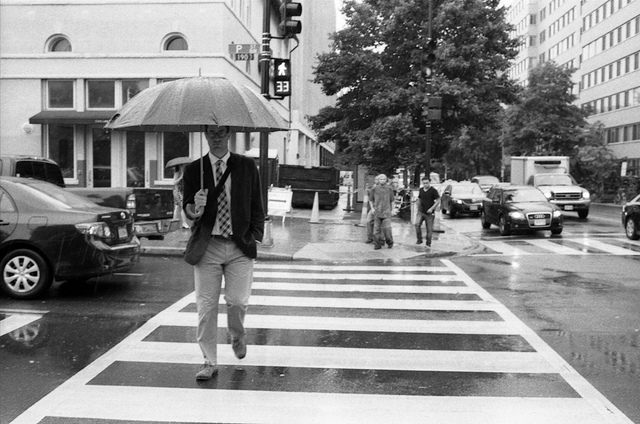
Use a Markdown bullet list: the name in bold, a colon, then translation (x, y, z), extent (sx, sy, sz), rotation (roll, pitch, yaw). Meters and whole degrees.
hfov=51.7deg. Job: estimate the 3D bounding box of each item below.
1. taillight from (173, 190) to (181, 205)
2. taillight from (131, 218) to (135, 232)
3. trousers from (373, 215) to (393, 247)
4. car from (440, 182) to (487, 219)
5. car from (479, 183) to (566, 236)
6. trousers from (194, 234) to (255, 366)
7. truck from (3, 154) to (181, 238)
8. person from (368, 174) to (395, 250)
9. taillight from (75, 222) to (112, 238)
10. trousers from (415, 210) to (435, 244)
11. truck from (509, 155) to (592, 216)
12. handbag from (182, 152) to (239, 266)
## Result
- **taillight**: translation (-4.667, -0.441, 21.545), extent (0.157, 0.527, 0.388), rotation (-6, 1, -40)
- **taillight**: translation (-3.877, 0.275, 13.645), extent (0.060, 0.325, 0.060), rotation (2, 11, -12)
- **trousers**: translation (1.794, 0.497, 19.006), extent (0.506, 0.399, 1.387), rotation (0, 40, 5)
- **car**: translation (6.981, -0.568, 32.839), extent (1.554, 1.281, 3.423), rotation (0, -1, -2)
- **car**: translation (7.281, -0.032, 23.736), extent (1.765, 1.601, 3.291), rotation (0, 8, -4)
- **trousers**: translation (-1.348, 1.223, 9.332), extent (0.809, 1.843, 0.229), rotation (-1, 7, -12)
- **truck**: translation (-5.989, -0.454, 16.003), extent (4.202, 1.655, 1.967), rotation (3, 1, 9)
- **person**: translation (1.751, -0.026, 18.831), extent (0.698, 2.114, 0.754), rotation (1, 7, 4)
- **taillight**: translation (-4.253, 0.336, 12.352), extent (0.404, 0.203, 0.301), rotation (-1, -3, 10)
- **trousers**: translation (3.105, 0.435, 19.751), extent (0.528, 0.885, 1.449), rotation (1, 8, 8)
- **truck**: translation (10.822, -1.317, 31.757), extent (2.252, 2.655, 5.101), rotation (-4, 8, -2)
- **handbag**: translation (-1.520, -0.026, 9.207), extent (0.739, 1.522, 0.323), rotation (-1, 7, -12)
